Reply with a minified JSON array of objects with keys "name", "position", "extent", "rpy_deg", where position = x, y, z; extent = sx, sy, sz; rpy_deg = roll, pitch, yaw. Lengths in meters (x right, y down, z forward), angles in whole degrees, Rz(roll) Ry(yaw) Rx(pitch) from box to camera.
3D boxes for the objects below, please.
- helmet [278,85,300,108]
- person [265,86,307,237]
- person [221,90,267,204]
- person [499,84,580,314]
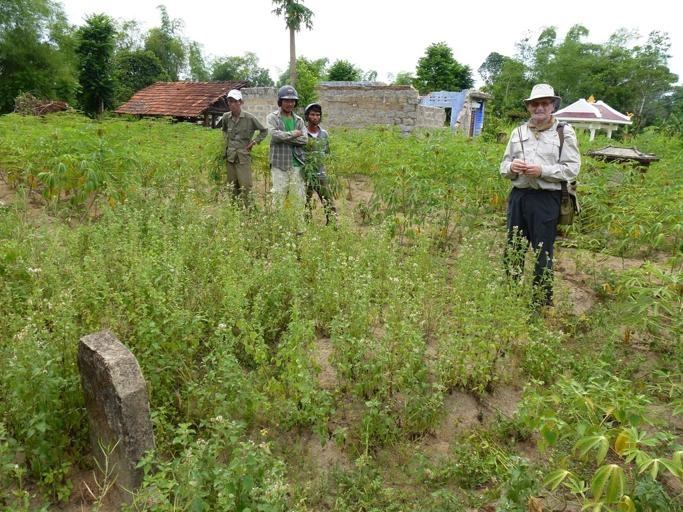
[{"name":"helmet","position":[-0.713,-2.245,7.449],"extent":[0.270,0.313,0.378],"rpy_deg":[-1,44,-11]},{"name":"person","position":[-0.730,-1.511,7.423],"extent":[0.558,1.565,0.880],"rpy_deg":[2,15,-5]},{"name":"person","position":[-1.474,-1.715,8.308],"extent":[0.586,1.571,0.704],"rpy_deg":[-1,16,-18]},{"name":"person","position":[2.029,-0.660,5.716],"extent":[0.773,2.193,0.895],"rpy_deg":[8,16,17]}]
